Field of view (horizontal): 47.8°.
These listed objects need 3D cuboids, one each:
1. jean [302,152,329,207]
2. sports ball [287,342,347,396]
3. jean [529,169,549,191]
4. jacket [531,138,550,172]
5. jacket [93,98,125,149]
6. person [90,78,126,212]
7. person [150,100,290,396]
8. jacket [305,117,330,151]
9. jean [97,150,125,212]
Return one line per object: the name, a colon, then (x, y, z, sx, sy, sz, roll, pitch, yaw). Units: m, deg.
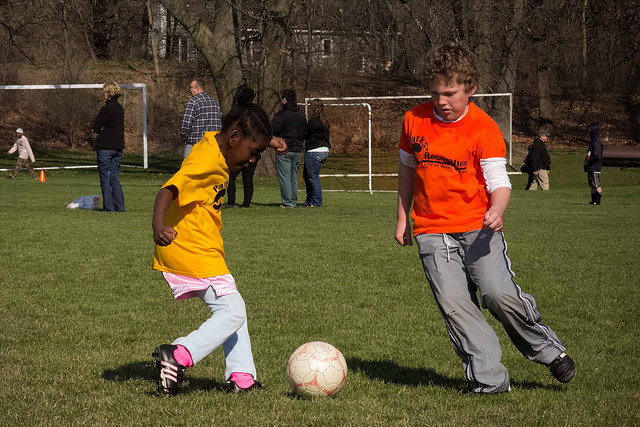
jean: (-0.122, -0.808, 15.380, 0.489, 1.331, 0.548, -6, 13, -30)
sports ball: (-0.020, 1.412, 6.640, 0.448, 0.447, 0.471, -16, 18, 5)
jean: (6.403, -0.989, 20.980, 0.510, 0.778, 1.021, 3, 15, 9)
jacket: (6.111, -1.592, 20.025, 0.467, 1.049, 0.855, 6, 15, 21)
jacket: (-3.942, -1.647, 13.333, 0.679, 0.913, 0.454, -10, 18, -36)
person: (-3.990, -1.207, 13.630, 0.549, 2.526, 1.043, -3, 15, -15)
person: (-1.013, 0.304, 6.663, 1.075, 2.590, 1.109, -2, 14, -10)
jacket: (-0.138, -1.629, 15.256, 0.582, 0.850, 0.704, 0, -2, 19)
jean: (-3.944, -0.619, 13.562, 0.445, 1.228, 0.554, -4, 15, -17)
